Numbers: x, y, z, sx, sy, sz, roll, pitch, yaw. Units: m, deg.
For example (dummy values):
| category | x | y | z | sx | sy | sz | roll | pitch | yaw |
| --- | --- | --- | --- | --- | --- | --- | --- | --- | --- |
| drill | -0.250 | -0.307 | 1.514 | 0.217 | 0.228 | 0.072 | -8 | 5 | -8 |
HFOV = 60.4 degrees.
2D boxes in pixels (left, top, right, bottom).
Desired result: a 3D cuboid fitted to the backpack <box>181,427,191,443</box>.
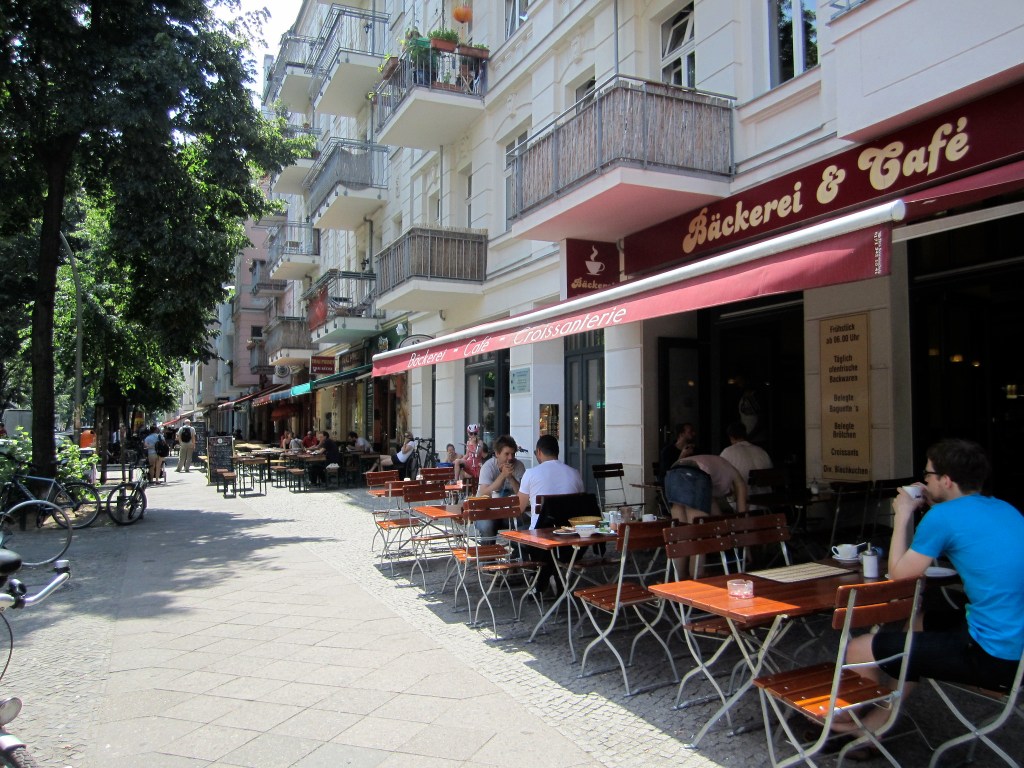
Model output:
| category | x | y | z | sx | sy | sz | roll | pitch | yaw |
| --- | --- | --- | --- | --- | --- | --- | --- | --- | --- |
| backpack | -11.902 | 1.878 | 32.117 | 0.188 | 0.501 | 0.352 | -9 | -15 | 40 |

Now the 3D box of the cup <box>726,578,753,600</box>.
| category | x | y | z | sx | sy | sz | roll | pitch | yaw |
| --- | --- | --- | --- | --- | --- | --- | --- | --- | --- |
| cup | 1.702 | 1.539 | 6.618 | 0.141 | 0.095 | 0.148 | 0 | -7 | 0 |

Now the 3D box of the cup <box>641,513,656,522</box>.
| category | x | y | z | sx | sy | sz | roll | pitch | yaw |
| --- | --- | --- | --- | --- | --- | --- | --- | --- | --- |
| cup | 1.447 | 1.414 | 9.297 | 0.118 | 0.094 | 0.083 | 3 | -7 | -13 |
